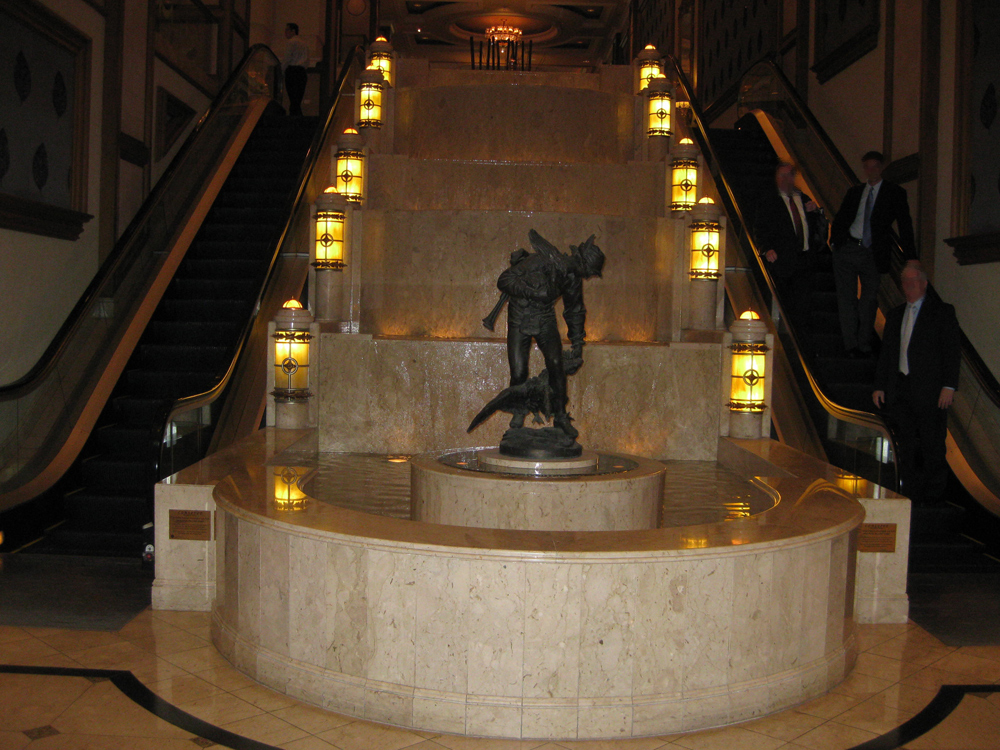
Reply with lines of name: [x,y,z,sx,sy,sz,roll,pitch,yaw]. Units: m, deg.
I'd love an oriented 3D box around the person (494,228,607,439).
person: [0.341,-0.262,7.544,0.704,1.362,0.452,0,0,-1]

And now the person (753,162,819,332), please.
person: [2.789,-1.237,10.720,0.571,1.116,0.631,0,0,-2]

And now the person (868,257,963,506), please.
person: [3.422,0.054,9.178,0.659,1.583,0.423,0,0,23]

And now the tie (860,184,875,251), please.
tie: [3.469,-1.504,10.499,0.142,0.456,0.086,0,0,17]
